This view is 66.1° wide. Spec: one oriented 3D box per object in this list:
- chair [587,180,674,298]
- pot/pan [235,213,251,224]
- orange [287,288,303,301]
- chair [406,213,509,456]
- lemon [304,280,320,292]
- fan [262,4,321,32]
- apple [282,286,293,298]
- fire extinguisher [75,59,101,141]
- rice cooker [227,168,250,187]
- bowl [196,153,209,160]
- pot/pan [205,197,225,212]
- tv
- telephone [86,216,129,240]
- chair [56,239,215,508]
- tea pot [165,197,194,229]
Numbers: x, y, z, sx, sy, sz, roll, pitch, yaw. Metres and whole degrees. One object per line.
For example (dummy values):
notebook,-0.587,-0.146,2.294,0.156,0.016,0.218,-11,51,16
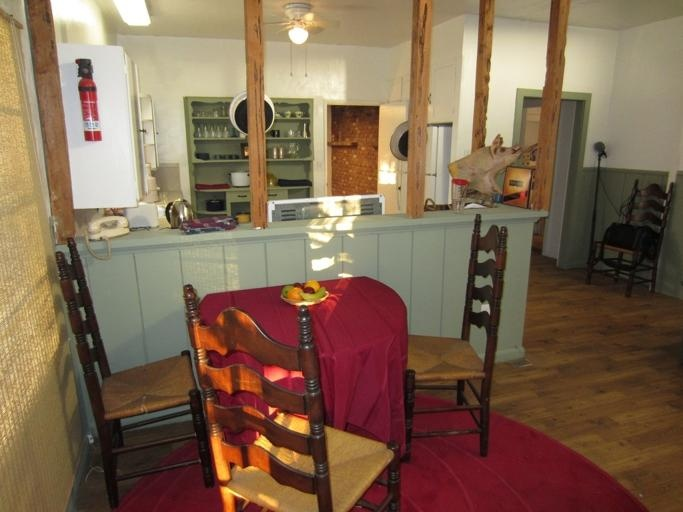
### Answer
chair,3.252,-0.240,5.979,0.625,1.376,0.684,0,14,-17
pot/pan,-0.687,-0.264,3.658,0.074,0.056,0.073,1,9,2
orange,-0.283,0.228,3.144,0.084,0.082,0.082,2,-2,-28
chair,0.654,0.523,3.406,0.712,1.578,0.592,-2,11,-12
lemon,-0.180,0.183,3.211,0.083,0.070,0.069,-19,19,-26
fan,-0.466,-2.379,5.369,0.415,0.274,1.043,-4,13,-14
apple,-0.330,0.215,3.189,0.059,0.072,0.057,3,11,6
fire extinguisher,-1.491,-0.913,3.102,0.100,0.465,0.074,-6,15,-22
rice cooker,-1.300,-0.975,6.686,0.225,0.190,0.340,-4,13,-14
bowl,-1.736,-1.252,6.572,0.155,0.089,0.178,-2,13,-6
pot/pan,-1.574,-0.648,6.569,0.174,0.133,0.172,-1,9,-7
tv,-0.087,-0.357,3.886,0.924,0.155,0.171,-4,14,-18
telephone,-1.463,-0.179,3.309,0.122,0.116,0.213,17,23,38
chair,-1.177,0.747,3.193,0.807,1.605,0.744,-4,13,-20
tea pot,-1.094,-0.282,3.543,0.159,0.180,0.193,-5,14,-17
